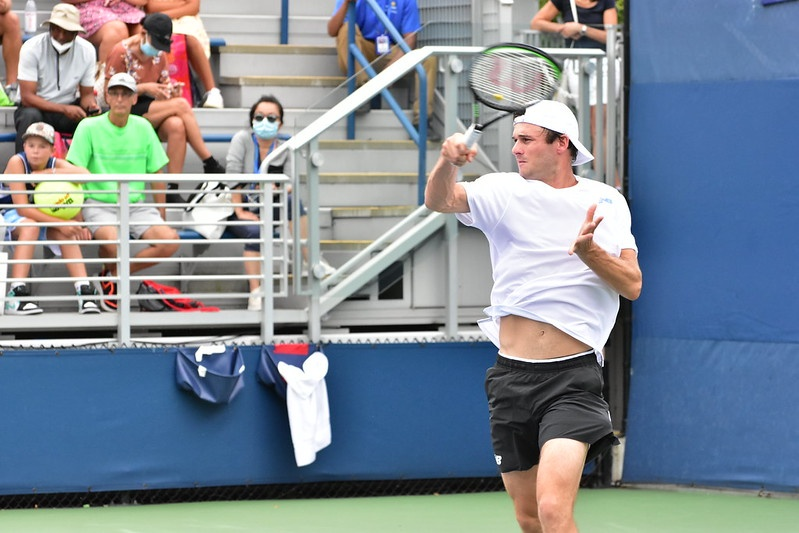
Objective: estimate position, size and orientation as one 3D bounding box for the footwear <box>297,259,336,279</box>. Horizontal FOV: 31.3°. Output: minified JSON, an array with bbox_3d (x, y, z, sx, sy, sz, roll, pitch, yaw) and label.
[{"bbox_3d":[-0.649,0.025,11.156,0.322,0.104,0.128,0,2,-8],"label":"footwear"}]

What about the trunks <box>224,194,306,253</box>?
[{"bbox_3d":[-1.073,-0.310,11.370,0.583,0.457,0.514,-3,25,-8],"label":"trunks"}]

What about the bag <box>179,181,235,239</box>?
[{"bbox_3d":[-1.527,-0.448,11.378,0.322,0.314,0.192,22,-13,40],"label":"bag"}]

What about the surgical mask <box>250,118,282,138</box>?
[{"bbox_3d":[-1.099,-1.127,11.658,0.166,0.141,0.167,2,0,-4],"label":"surgical mask"}]

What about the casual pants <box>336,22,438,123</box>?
[{"bbox_3d":[-0.071,-1.545,11.427,0.686,0.963,0.704,7,-12,-15],"label":"casual pants"}]

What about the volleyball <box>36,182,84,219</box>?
[{"bbox_3d":[-2.678,-0.505,11.187,0.381,0.295,0.506,-4,14,-15],"label":"volleyball"}]

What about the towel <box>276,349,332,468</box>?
[{"bbox_3d":[-0.754,1.107,11.092,0.483,0.806,0.205,-10,6,-32],"label":"towel"}]

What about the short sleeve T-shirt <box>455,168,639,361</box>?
[{"bbox_3d":[0.948,-0.022,9.445,1.191,1.227,0.695,7,-16,-8],"label":"short sleeve T-shirt"}]

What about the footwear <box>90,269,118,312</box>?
[{"bbox_3d":[-2.313,0.208,11.208,0.156,0.390,0.133,-10,0,38],"label":"footwear"}]

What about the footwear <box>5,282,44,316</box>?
[{"bbox_3d":[-2.971,0.260,11.120,0.165,0.262,0.399,3,-5,-44],"label":"footwear"}]

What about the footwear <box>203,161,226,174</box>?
[{"bbox_3d":[-1.593,-0.859,12.197,0.175,0.097,0.175,-3,13,-11],"label":"footwear"}]

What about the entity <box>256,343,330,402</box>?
[{"bbox_3d":[-0.922,0.812,11.040,0.427,0.447,0.150,10,-11,-26],"label":"entity"}]

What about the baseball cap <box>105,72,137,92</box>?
[{"bbox_3d":[-2.259,-1.497,11.555,0.217,0.149,0.168,-4,14,-17],"label":"baseball cap"}]

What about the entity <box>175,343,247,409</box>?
[{"bbox_3d":[-1.466,0.821,10.974,0.524,0.421,0.165,-3,13,-10],"label":"entity"}]

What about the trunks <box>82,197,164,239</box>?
[{"bbox_3d":[-2.180,-0.413,11.290,0.393,0.197,0.467,3,-3,-30],"label":"trunks"}]

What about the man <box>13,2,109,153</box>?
[{"bbox_3d":[-3.006,-1.770,12.519,0.745,0.680,0.384,2,19,-35],"label":"man"}]

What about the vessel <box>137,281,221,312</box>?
[{"bbox_3d":[-1.748,0.229,11.201,0.616,0.266,0.282,-3,13,-11],"label":"vessel"}]

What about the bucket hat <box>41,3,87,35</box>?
[{"bbox_3d":[-2.924,-2.163,12.401,0.299,0.162,0.257,17,3,-23],"label":"bucket hat"}]

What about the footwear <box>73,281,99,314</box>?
[{"bbox_3d":[-2.425,0.242,11.070,0.181,0.248,0.506,-3,14,-13],"label":"footwear"}]

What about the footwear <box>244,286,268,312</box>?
[{"bbox_3d":[-1.139,0.194,11.233,0.145,0.225,0.271,12,-12,-6],"label":"footwear"}]
